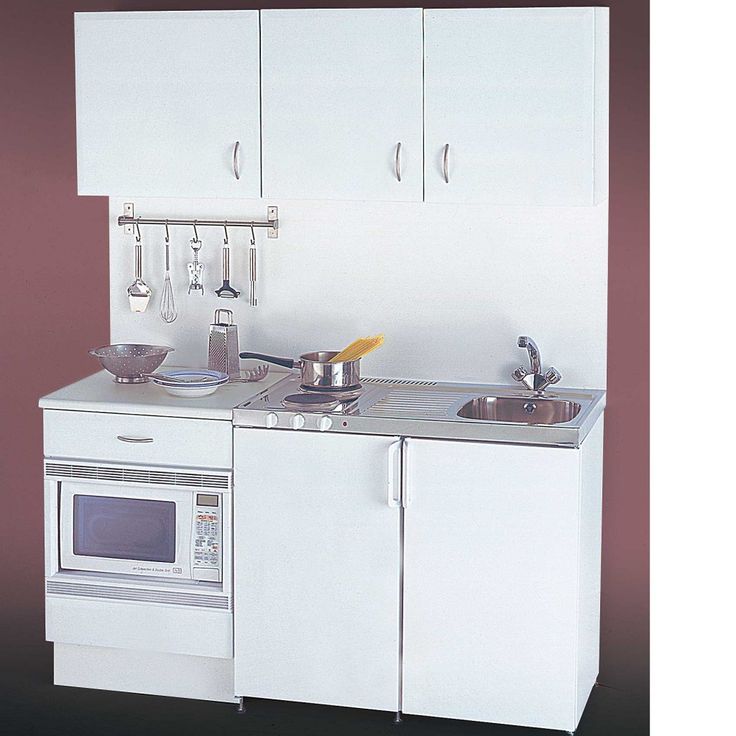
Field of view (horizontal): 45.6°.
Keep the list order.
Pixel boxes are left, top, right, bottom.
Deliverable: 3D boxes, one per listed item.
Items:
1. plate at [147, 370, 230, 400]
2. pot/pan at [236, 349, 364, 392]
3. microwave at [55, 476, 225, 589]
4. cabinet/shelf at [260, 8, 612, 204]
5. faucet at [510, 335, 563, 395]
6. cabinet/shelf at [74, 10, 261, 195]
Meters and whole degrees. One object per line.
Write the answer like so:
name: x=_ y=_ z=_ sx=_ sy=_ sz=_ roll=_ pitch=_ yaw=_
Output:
plate: x=-0.619 y=0.038 z=3.062 sx=0.256 sy=0.064 sz=0.421 roll=-2 pitch=10 yaw=-9
pot/pan: x=-0.237 y=0.017 z=3.004 sx=0.383 sy=0.109 sz=0.155 roll=3 pitch=12 yaw=14
microwave: x=-0.714 y=0.543 z=2.833 sx=0.630 sy=0.348 sz=0.357 roll=1 pitch=2 yaw=12
cabinet/shelf: x=0.237 y=-0.847 z=2.766 sx=0.730 sy=0.381 sz=0.254 roll=1 pitch=7 yaw=12
faucet: x=0.586 y=-0.017 z=3.024 sx=0.168 sy=0.199 sz=0.181 roll=1 pitch=11 yaw=10
cabinet/shelf: x=-0.652 y=-0.917 z=2.961 sx=0.682 sy=0.569 sz=0.355 roll=1 pitch=8 yaw=7
